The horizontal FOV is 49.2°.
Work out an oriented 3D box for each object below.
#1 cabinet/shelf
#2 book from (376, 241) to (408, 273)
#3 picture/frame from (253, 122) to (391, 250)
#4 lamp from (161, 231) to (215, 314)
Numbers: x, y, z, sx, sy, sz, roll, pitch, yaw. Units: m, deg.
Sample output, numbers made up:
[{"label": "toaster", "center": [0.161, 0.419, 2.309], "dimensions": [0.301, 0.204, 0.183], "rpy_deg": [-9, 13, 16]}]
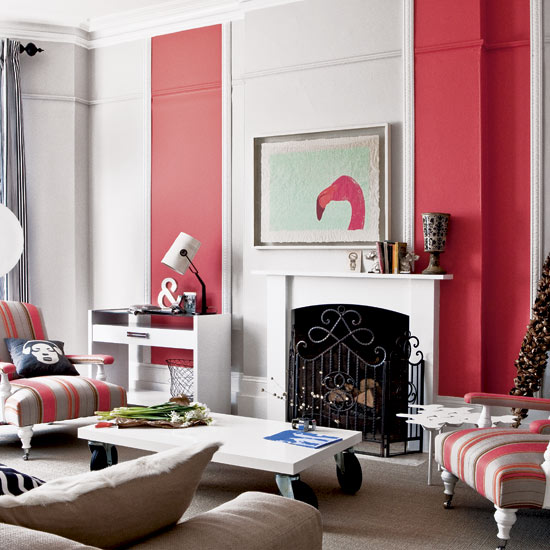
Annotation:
[{"label": "cabinet/shelf", "center": [-0.885, 0.636, 4.627], "dimensions": [1.090, 0.771, 0.399], "rpy_deg": [-2, 3, 31]}, {"label": "book", "center": [0.741, -0.108, 3.804], "dimensions": [0.183, 0.163, 0.201], "rpy_deg": [1, -5, -12]}, {"label": "picture/frame", "center": [0.356, -0.607, 4.100], "dimensions": [0.948, 0.683, 0.070], "rpy_deg": [-1, -2, 30]}, {"label": "lamp", "center": [-0.677, -0.030, 4.574], "dimensions": [0.343, 0.634, 0.505], "rpy_deg": [1, -2, -7]}]
